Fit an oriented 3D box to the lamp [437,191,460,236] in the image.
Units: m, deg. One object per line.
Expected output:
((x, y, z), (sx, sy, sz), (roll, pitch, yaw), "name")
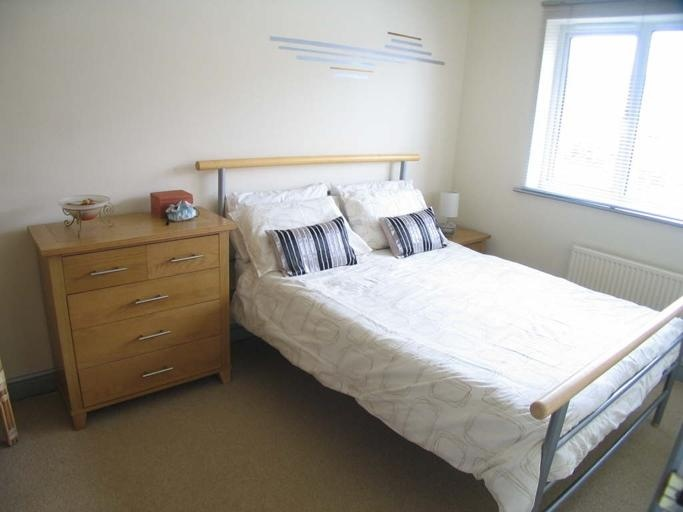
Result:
((0.925, -0.389, 4.426), (0.172, 0.302, 0.155), (4, 15, 8), "lamp")

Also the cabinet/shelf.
((-1.265, 0.368, 2.977), (1.050, 1.067, 0.594), (-13, 26, -36), "cabinet/shelf")

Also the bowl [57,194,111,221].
((-1.469, -0.277, 2.949), (0.239, 0.113, 0.267), (-12, 21, -28), "bowl")

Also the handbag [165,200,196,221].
((-0.967, -0.268, 3.088), (0.163, 0.121, 0.068), (-15, 15, -27), "handbag")
